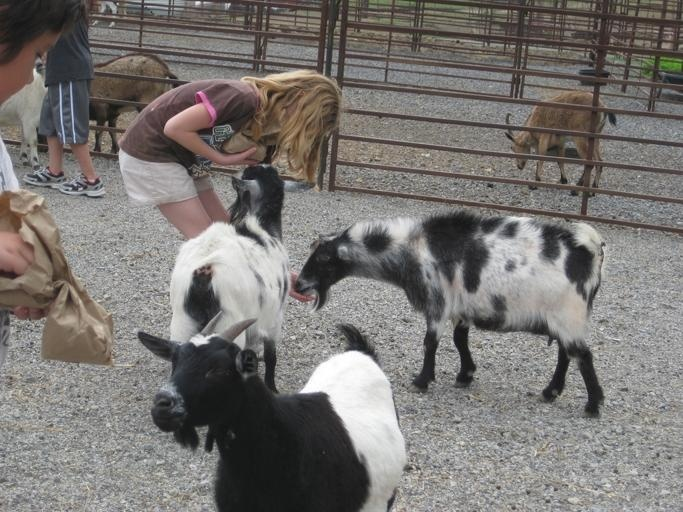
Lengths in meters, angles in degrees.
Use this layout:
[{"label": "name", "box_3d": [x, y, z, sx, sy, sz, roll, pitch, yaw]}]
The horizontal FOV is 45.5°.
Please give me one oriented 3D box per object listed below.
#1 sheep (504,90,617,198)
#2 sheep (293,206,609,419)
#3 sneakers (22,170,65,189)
[{"label": "sheep", "box_3d": [2.967, -1.602, 11.280, 0.643, 1.359, 2.190, 2, 1, -27]}, {"label": "sheep", "box_3d": [0.708, 0.342, 5.486, 2.137, 1.145, 0.638, 3, 9, 24]}, {"label": "sneakers", "box_3d": [-2.908, -0.752, 8.009, 0.473, 0.190, 0.153, 4, 15, -9]}]
